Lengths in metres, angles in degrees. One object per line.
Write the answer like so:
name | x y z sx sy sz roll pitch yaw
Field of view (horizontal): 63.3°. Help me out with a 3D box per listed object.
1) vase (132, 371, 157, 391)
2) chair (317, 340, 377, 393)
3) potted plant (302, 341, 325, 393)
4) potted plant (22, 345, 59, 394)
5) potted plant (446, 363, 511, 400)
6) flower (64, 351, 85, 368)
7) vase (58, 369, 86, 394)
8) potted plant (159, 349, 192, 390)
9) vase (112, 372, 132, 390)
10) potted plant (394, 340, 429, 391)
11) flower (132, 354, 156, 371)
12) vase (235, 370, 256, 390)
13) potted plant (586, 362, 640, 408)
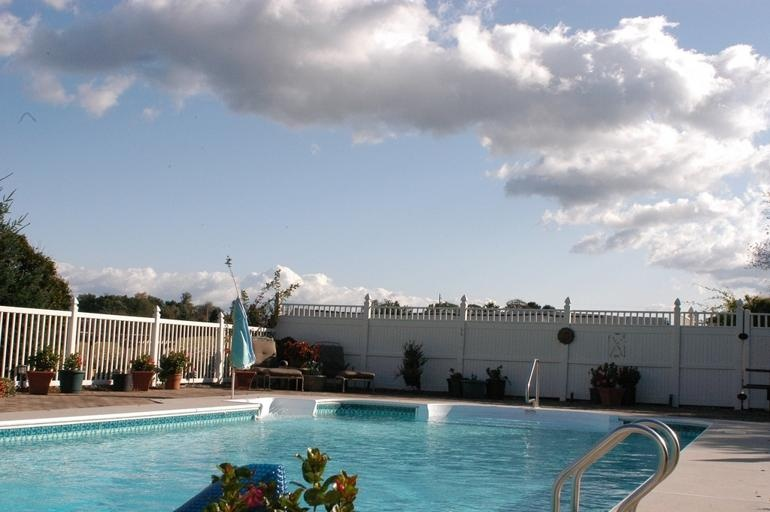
vase | -6.800 3.489 17.477 0.511 0.390 0.522 1 -10 -5
chair | -1.472 3.820 21.702 1.877 1.644 2.622 1 -8 -6
potted plant | -2.411 3.709 20.867 0.747 1.487 1.360 1 -8 -7
potted plant | -8.613 2.853 15.668 0.678 1.174 0.586 5 -9 -29
potted plant | 3.127 4.236 21.056 1.630 0.723 1.111 3 -6 -14
flower | -8.261 2.776 16.452 0.359 0.440 0.704 3 -9 -18
vase | -8.128 3.246 16.176 0.555 0.441 0.569 1 -12 -5
potted plant | -6.322 3.306 18.283 0.898 1.206 1.091 0 -4 5
vase | -7.247 3.467 17.226 0.442 0.371 0.488 -1 -10 5
potted plant | 0.947 3.835 22.036 0.988 1.726 0.711 0 -8 1
flower | -6.835 3.027 17.610 0.634 0.454 0.445 2 -8 -14
vase | -4.354 3.823 19.295 0.606 0.509 0.561 1 -12 -10
potted plant | 7.373 4.085 20.001 1.598 1.262 0.974 4 -9 -26
